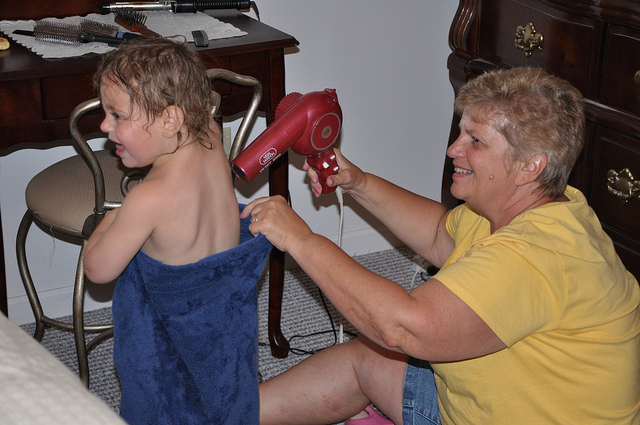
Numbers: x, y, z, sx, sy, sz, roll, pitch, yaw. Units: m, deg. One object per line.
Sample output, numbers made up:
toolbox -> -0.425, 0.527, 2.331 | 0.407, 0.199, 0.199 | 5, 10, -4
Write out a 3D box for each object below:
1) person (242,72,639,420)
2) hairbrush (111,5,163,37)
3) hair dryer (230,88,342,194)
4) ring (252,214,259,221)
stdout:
person -> 0.253, 0.010, 1.425 | 0.894, 0.770, 0.644 | 12, 26, 15
hairbrush -> -0.520, -0.544, 1.662 | 0.074, 0.065, 0.224 | -21, 40, -26
hair dryer -> -0.072, -0.163, 1.360 | 0.277, 0.213, 0.078 | -16, 29, -35
ring -> -0.137, 0.011, 1.240 | 0.009, 0.012, 0.005 | 19, 27, 41
